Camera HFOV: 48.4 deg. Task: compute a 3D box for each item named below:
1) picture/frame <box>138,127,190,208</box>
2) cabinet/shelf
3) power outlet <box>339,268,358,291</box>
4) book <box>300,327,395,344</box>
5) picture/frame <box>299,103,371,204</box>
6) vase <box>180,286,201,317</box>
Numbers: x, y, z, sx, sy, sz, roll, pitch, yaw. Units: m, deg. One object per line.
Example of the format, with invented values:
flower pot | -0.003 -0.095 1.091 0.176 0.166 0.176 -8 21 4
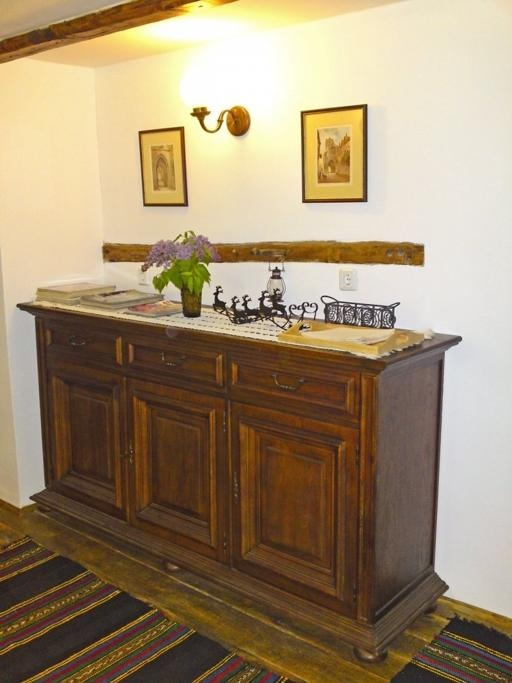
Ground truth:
picture/frame | -0.409 -0.762 2.481 0.283 0.318 0.013 12 21 38
cabinet/shelf | -0.165 0.395 2.174 1.656 0.930 0.538 8 11 38
power outlet | 0.325 -0.222 1.980 0.073 0.086 0.029 10 15 39
book | 0.263 -0.022 1.614 0.217 0.019 0.303 -9 11 -44
picture/frame | 0.276 -0.646 1.919 0.363 0.407 0.018 7 12 41
vase | -0.231 -0.148 2.091 0.100 0.117 0.094 3 12 2
